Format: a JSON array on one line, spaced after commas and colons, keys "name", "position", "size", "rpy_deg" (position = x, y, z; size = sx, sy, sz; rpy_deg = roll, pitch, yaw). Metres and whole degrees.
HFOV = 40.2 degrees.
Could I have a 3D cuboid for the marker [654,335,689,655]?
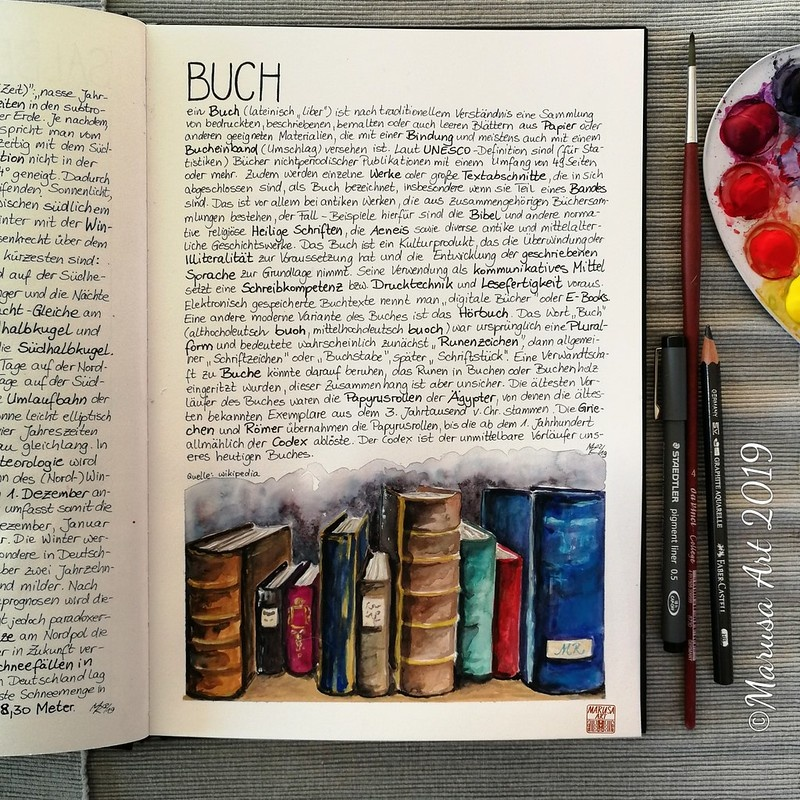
[{"name": "marker", "position": [0.282, 0.094, 1.124], "size": [0.023, 0.324, 0.036], "rpy_deg": [1, -5, -30]}]
